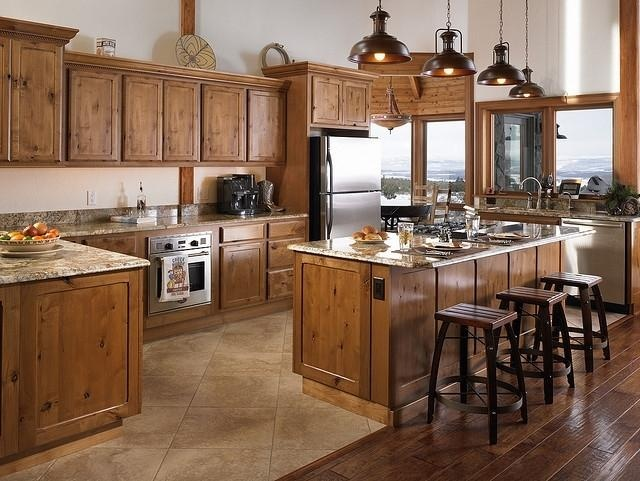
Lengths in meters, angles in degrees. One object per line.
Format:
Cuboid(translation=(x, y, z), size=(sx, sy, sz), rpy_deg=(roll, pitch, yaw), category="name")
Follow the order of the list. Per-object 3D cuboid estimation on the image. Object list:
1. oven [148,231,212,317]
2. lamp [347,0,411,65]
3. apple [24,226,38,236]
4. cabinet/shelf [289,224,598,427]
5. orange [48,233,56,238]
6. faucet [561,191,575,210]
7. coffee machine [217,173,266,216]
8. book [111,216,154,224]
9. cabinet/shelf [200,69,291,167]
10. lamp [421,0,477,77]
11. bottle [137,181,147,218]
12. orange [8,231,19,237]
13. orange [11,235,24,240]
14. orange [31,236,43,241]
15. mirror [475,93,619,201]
Cuboid(translation=(-1.481, 0.304, 5.208), size=(0.668, 0.673, 0.490), rpy_deg=(-3, 4, -27), category="oven")
Cuboid(translation=(0.399, -1.466, 3.498), size=(0.410, 0.440, 0.421), rpy_deg=(-4, 10, -19), category="lamp")
Cuboid(translation=(-1.852, -0.063, 3.216), size=(0.073, 0.064, 0.065), rpy_deg=(3, 7, 3), category="apple")
Cuboid(translation=(0.808, 0.564, 3.982), size=(1.810, 1.149, 0.953), rpy_deg=(-8, 12, -37), category="cabinet/shelf")
Cuboid(translation=(-1.725, -0.031, 3.224), size=(0.034, 0.016, 0.032), rpy_deg=(1, 0, 10), category="orange")
Cuboid(translation=(3.178, -0.507, 6.384), size=(0.136, 0.214, 0.210), rpy_deg=(-1, 10, -2), category="faucet")
Cuboid(translation=(-0.934, -0.513, 5.868), size=(0.558, 0.472, 0.501), rpy_deg=(-1, 1, -40), category="coffee machine")
Cuboid(translation=(-1.875, -0.201, 5.002), size=(0.446, 0.054, 0.297), rpy_deg=(-3, 9, -12), category="book")
Cuboid(translation=(-0.894, -1.414, 5.778), size=(0.476, 1.024, 1.347), rpy_deg=(4, 6, 40), category="cabinet/shelf")
Cuboid(translation=(1.016, -1.632, 3.980), size=(0.379, 0.703, 0.922), rpy_deg=(1, 10, 12), category="lamp")
Cuboid(translation=(-1.901, -0.448, 5.337), size=(0.103, 0.352, 0.221), rpy_deg=(-4, 10, -18), category="bottle")
Cuboid(translation=(-2.165, -0.045, 3.534), size=(0.063, 0.033, 0.064), rpy_deg=(3, 5, 17), category="orange")
Cuboid(translation=(-1.901, -0.019, 3.143), size=(0.039, 0.022, 0.044), rpy_deg=(-1, 2, 0), category="orange")
Cuboid(translation=(-1.793, -0.014, 3.172), size=(0.040, 0.019, 0.037), rpy_deg=(2, 2, 3), category="orange")
Cuboid(translation=(3.047, -1.256, 6.591), size=(0.126, 1.098, 1.689), rpy_deg=(-4, 6, -38), category="mirror")
